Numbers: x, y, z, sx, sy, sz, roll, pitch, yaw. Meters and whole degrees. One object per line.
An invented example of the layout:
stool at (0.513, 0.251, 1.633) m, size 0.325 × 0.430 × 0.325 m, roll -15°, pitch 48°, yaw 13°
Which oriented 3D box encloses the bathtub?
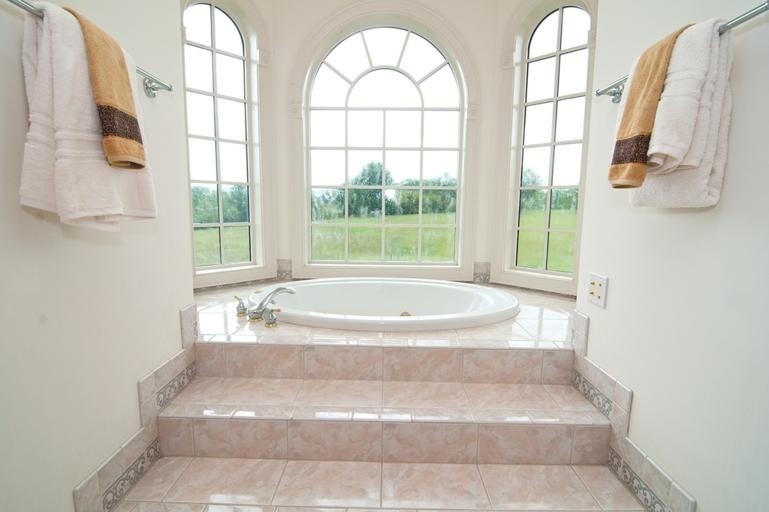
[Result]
bathtub at (0.030, 0.318, 3.545) m, size 1.763 × 0.363 × 1.290 m, roll -1°, pitch 7°, yaw 17°

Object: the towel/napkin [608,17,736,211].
towel/napkin at (1.160, -0.545, 1.994) m, size 0.207 × 0.658 × 0.476 m, roll 3°, pitch -1°, yaw -28°

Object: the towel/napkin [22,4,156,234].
towel/napkin at (-1.200, -0.541, 1.969) m, size 0.457 × 0.886 × 0.222 m, roll -8°, pitch 9°, yaw -30°
